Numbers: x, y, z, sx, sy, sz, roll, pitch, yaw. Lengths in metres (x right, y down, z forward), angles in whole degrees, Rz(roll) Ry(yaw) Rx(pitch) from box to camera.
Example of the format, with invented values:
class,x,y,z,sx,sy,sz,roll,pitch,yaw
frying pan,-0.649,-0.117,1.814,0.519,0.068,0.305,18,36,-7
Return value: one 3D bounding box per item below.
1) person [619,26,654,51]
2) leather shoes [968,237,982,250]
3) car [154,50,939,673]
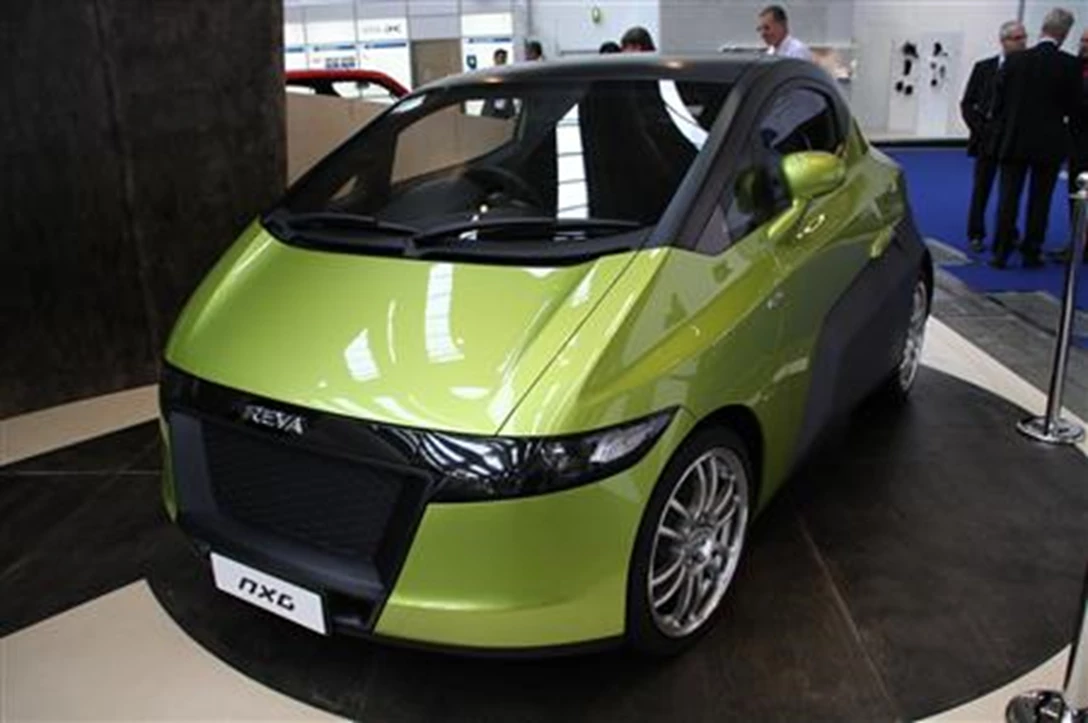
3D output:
class,x,y,z,sx,sy,sz,roll,pitch,yaw
person,0.927,-3.244,7.233,0.267,0.240,0.787,2,21,4
leather shoes,4.446,-1.226,7.453,0.125,0.103,0.234,12,23,30
car,0.017,-0.146,2.902,2.920,2.086,1.613,-10,22,-27
